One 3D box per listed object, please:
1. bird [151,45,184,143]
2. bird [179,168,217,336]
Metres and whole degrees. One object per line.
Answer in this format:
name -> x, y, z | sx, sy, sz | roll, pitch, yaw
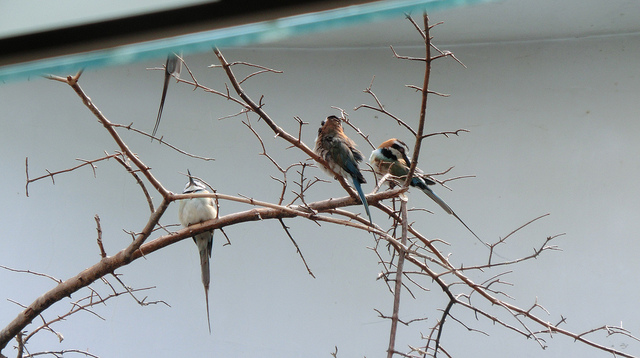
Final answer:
bird -> -1.776, -0.993, 8.257 | 0.225, 0.135, 1.027 | 13, -87, -56
bird -> -1.669, 0.824, 9.603 | 0.508, 3.171, 1.005 | 2, -58, -11
